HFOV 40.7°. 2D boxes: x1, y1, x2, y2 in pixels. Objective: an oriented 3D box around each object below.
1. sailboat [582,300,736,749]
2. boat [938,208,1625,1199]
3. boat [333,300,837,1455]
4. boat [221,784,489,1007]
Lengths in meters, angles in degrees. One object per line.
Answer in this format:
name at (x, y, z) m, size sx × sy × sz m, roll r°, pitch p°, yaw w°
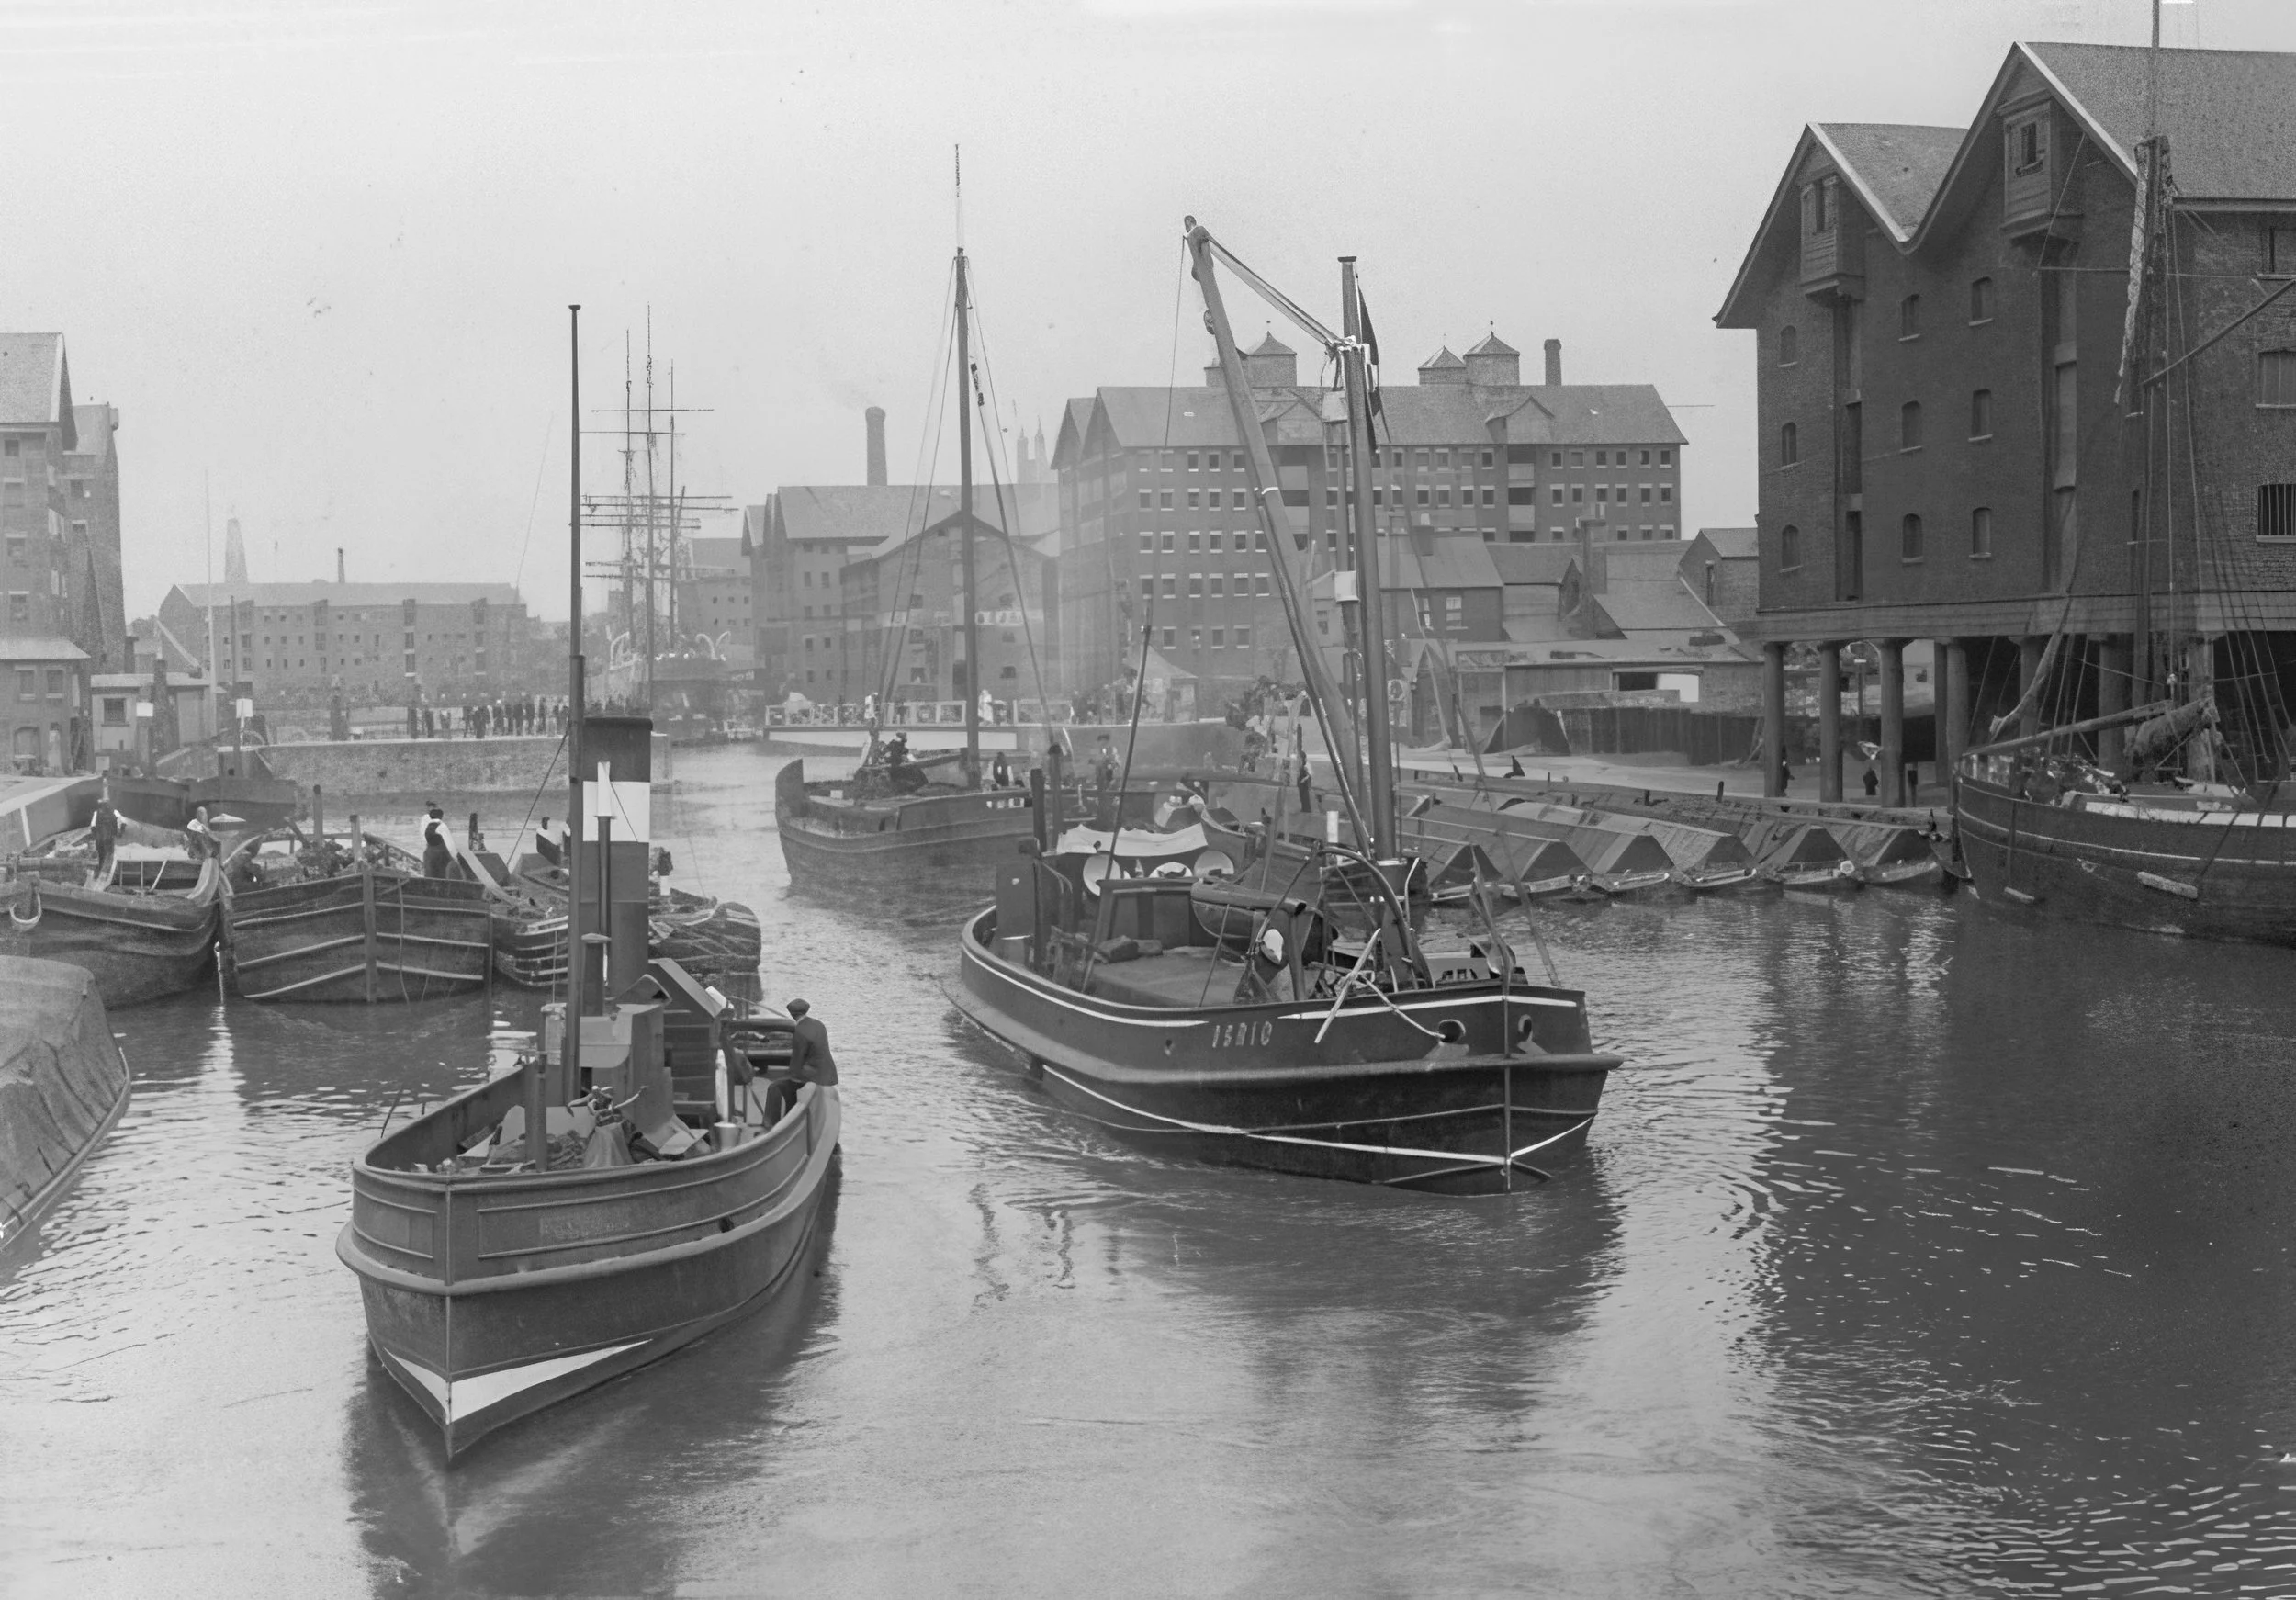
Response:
sailboat at (-17.798, -7.072, 113.110) m, size 5.038 × 21.319 × 1.504 m, roll -4°, pitch 8°, yaw -36°
boat at (1.509, -1.291, 40.472) m, size 6.003 × 11.007 × 10.080 m, roll -3°, pitch 14°, yaw -11°
boat at (-6.127, 4.089, 34.944) m, size 4.904 × 21.975 × 5.340 m, roll -5°, pitch 6°, yaw -18°
boat at (-14.264, 1.721, 55.157) m, size 3.932 × 3.379 × 8.618 m, roll -1°, pitch 0°, yaw -18°
